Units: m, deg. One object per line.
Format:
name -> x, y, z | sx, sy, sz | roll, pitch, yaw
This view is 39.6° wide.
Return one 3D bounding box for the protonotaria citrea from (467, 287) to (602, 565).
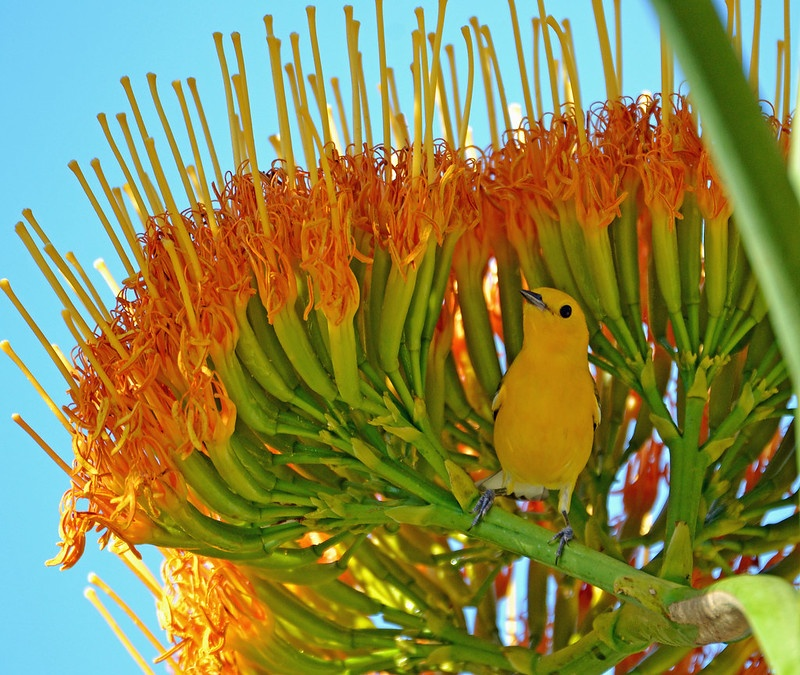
protonotaria citrea -> 0.247, 0.154, 2.024 | 0.223, 0.469, 0.334 | -7, 19, 20
